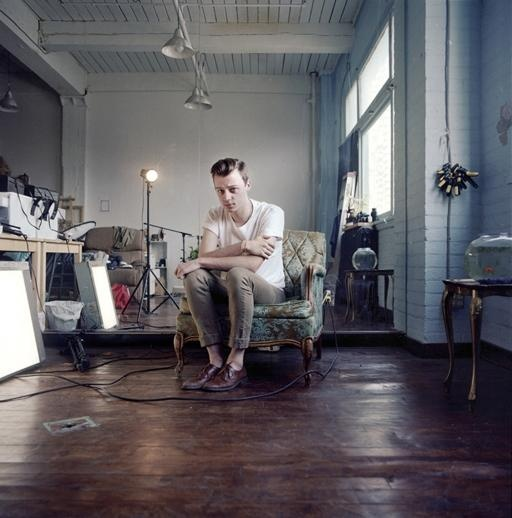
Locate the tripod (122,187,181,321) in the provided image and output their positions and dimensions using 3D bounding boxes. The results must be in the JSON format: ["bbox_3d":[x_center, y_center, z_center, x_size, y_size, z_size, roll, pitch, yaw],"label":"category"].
[{"bbox_3d":[-1.025,-0.115,4.510,0.520,1.301,0.522,-11,-16,31],"label":"tripod"}]

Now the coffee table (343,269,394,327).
[{"bbox_3d":[0.931,0.329,4.063,0.353,0.414,0.193,0,4,-16],"label":"coffee table"}]

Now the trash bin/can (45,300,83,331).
[{"bbox_3d":[-1.303,0.396,3.308,0.179,0.156,0.188,3,-12,-16],"label":"trash bin/can"}]

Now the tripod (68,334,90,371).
[{"bbox_3d":[-1.002,0.548,2.752,0.109,0.128,0.223,1,38,-31],"label":"tripod"}]

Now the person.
[{"bbox_3d":[-0.127,0.051,2.486,0.537,1.104,0.509,0,5,3],"label":"person"}]

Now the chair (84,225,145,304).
[{"bbox_3d":[-1.789,0.064,6.190,0.769,1.175,1.019,1,-10,-23],"label":"chair"}]

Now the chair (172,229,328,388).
[{"bbox_3d":[0.062,0.207,2.950,0.795,1.017,1.075,0,-6,23],"label":"chair"}]

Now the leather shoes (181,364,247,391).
[{"bbox_3d":[-0.191,0.542,2.350,0.200,0.088,0.134,8,-14,-43],"label":"leather shoes"}]
